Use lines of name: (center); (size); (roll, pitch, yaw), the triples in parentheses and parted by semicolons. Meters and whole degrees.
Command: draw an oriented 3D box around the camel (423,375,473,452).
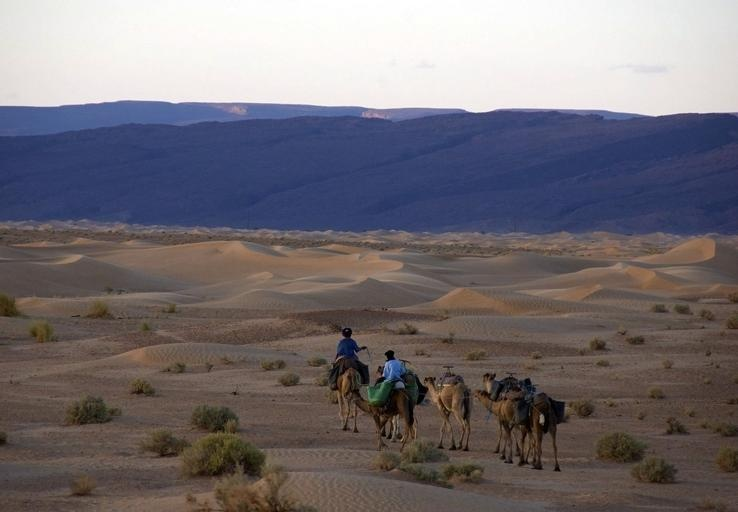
camel: (2.763, 5.147, 33.059); (1.683, 2.241, 1.535); (-2, 2, -6)

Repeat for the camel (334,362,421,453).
camel: (0.427, 4.788, 32.664); (1.243, 2.927, 2.024); (0, -1, -12)

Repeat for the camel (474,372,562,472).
camel: (5.252, 5.319, 32.564); (2.510, 2.539, 2.384); (0, 0, 33)
